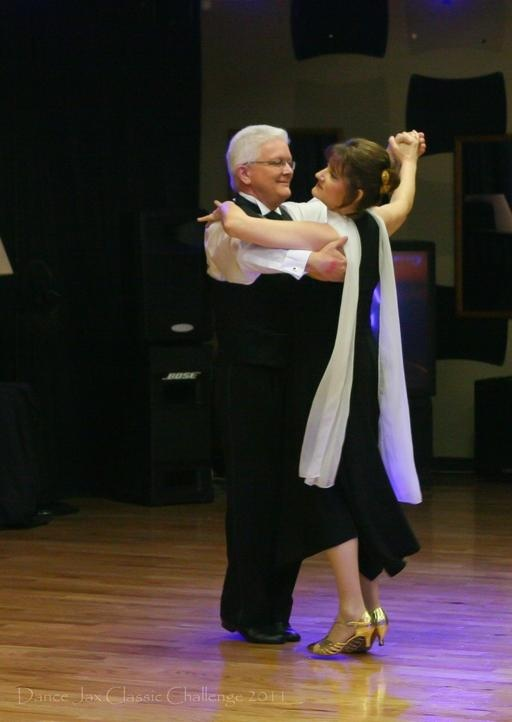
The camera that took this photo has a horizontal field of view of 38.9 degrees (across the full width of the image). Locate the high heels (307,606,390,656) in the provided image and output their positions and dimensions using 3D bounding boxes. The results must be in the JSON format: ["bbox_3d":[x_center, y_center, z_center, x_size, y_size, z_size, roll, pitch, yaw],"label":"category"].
[{"bbox_3d":[0.189,0.610,1.666,0.195,0.084,0.106,-10,-9,37],"label":"high heels"}]

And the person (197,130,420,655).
[{"bbox_3d":[0.126,0.102,1.580,0.456,1.133,0.268,-1,-3,2],"label":"person"}]

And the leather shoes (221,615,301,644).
[{"bbox_3d":[0.030,0.635,1.765,0.135,0.048,0.079,-2,-4,22],"label":"leather shoes"}]
